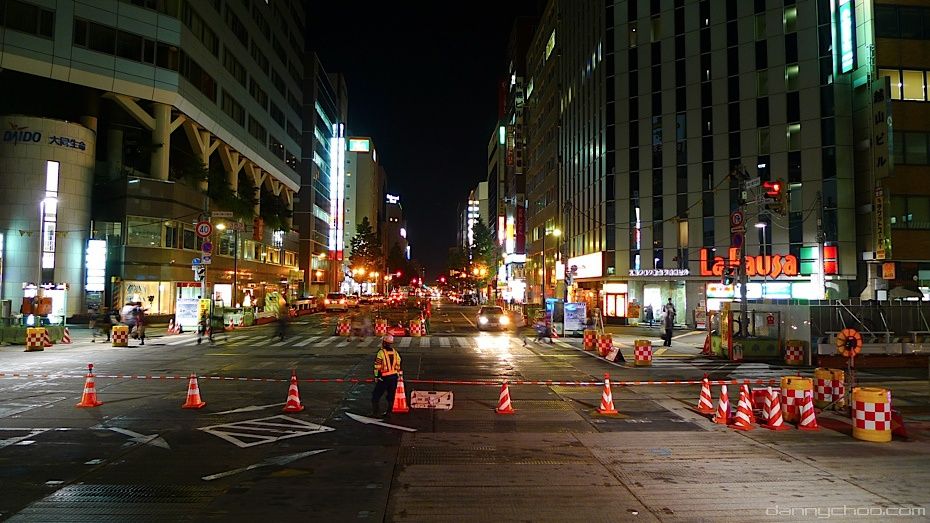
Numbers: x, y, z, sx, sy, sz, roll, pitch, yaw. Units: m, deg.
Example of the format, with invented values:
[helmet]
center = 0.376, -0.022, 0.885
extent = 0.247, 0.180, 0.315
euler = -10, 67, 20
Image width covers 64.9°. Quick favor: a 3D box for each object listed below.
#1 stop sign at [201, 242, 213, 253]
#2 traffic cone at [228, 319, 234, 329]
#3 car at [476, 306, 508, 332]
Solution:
[stop sign]
center = -22.818, -1.196, 64.655
extent = 0.197, 1.325, 1.438
euler = -3, 1, 13
[traffic cone]
center = -21.788, 5.864, 68.354
extent = 0.493, 0.690, 0.411
euler = 2, -7, -20
[car]
center = 2.527, 5.419, 68.337
extent = 2.622, 2.151, 2.222
euler = 0, -7, -5
